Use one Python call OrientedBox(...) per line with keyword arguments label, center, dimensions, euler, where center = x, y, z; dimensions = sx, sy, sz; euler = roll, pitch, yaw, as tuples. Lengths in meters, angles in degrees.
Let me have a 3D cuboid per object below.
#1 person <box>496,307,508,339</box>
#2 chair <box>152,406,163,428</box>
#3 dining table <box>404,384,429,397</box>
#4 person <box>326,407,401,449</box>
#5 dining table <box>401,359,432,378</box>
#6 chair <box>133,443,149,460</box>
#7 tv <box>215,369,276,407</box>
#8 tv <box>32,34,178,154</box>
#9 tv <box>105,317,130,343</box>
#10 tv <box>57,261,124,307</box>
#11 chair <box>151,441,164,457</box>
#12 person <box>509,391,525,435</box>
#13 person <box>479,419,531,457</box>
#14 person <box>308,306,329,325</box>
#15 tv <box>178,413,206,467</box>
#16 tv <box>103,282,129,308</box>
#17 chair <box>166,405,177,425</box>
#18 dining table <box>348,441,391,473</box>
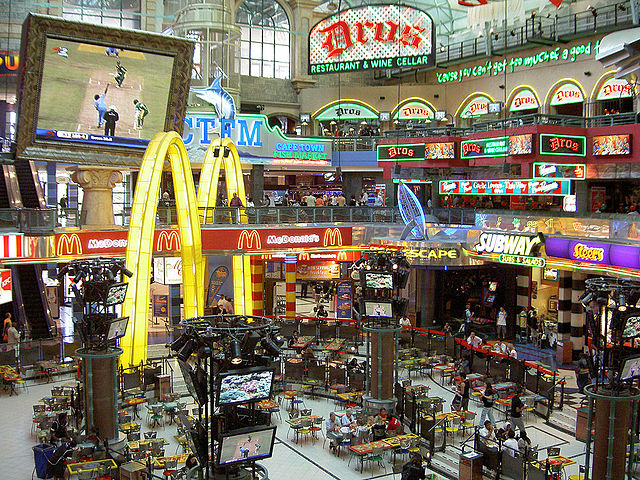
OrientedBox(label="person", center=(8.249, 3.727, 25.853), dimensions=(0.465, 1.383, 1.764), euler=(-2, -2, 18))
OrientedBox(label="chair", center=(-4.740, 5.085, 16.687), dimensions=(0.316, 0.616, 0.665), euler=(-1, -2, -16))
OrientedBox(label="dining table", center=(3.094, 4.902, 18.456), dimensions=(0.664, 0.353, 1.270), euler=(-2, -3, 21))
OrientedBox(label="person", center=(0.926, 5.059, 15.792), dimensions=(1.420, 0.345, 1.298), euler=(-3, 5, -30))
OrientedBox(label="dining table", center=(3.631, 4.756, 21.359), dimensions=(1.080, 0.701, 0.700), euler=(-1, 11, -14))
OrientedBox(label="chair", center=(-4.275, 5.038, 13.830), dimensions=(0.369, 0.405, 0.467), euler=(1, -16, 0))
OrientedBox(label="tv", center=(-1.280, 2.434, 9.595), dimensions=(1.190, 0.727, 0.221), euler=(2, 9, -33))
OrientedBox(label="tv", center=(-7.357, -4.993, 19.212), dimensions=(4.439, 3.285, 0.190), euler=(-7, 26, -40))
OrientedBox(label="tv", center=(-5.174, 2.289, 14.713), dimensions=(0.423, 0.622, 0.962), euler=(-2, -2, 2))
OrientedBox(label="tv", center=(-5.903, 0.877, 15.061), dimensions=(1.727, 1.196, 1.731), euler=(0, 0, -10))
OrientedBox(label="chair", center=(-4.022, 5.110, 14.161), dimensions=(0.343, 0.376, 0.360), euler=(4, 10, -20))
OrientedBox(label="person", center=(5.454, 4.721, 15.725), dimensions=(0.483, 1.447, 0.440), euler=(-2, 18, 17))
OrientedBox(label="person", center=(4.506, 4.898, 14.203), dimensions=(1.372, 0.736, 0.889), euler=(-3, -7, 43))
OrientedBox(label="person", center=(-0.063, 3.495, 26.756), dimensions=(0.658, 0.912, 1.623), euler=(-1, -5, -3))
OrientedBox(label="tv", center=(-2.218, 3.543, 10.128), dimensions=(0.356, 0.881, 0.946), euler=(-1, -2, -19))
OrientedBox(label="tv", center=(-5.408, 1.415, 15.176), dimensions=(0.137, 0.742, 1.051), euler=(23, 6, 13))
OrientedBox(label="chair", center=(-4.348, 5.076, 16.753), dimensions=(0.265, 0.605, 0.615), euler=(-1, -2, -15))
OrientedBox(label="dining table", center=(1.279, 5.426, 14.519), dimensions=(0.964, 0.618, 0.756), euler=(1, -4, -25))
